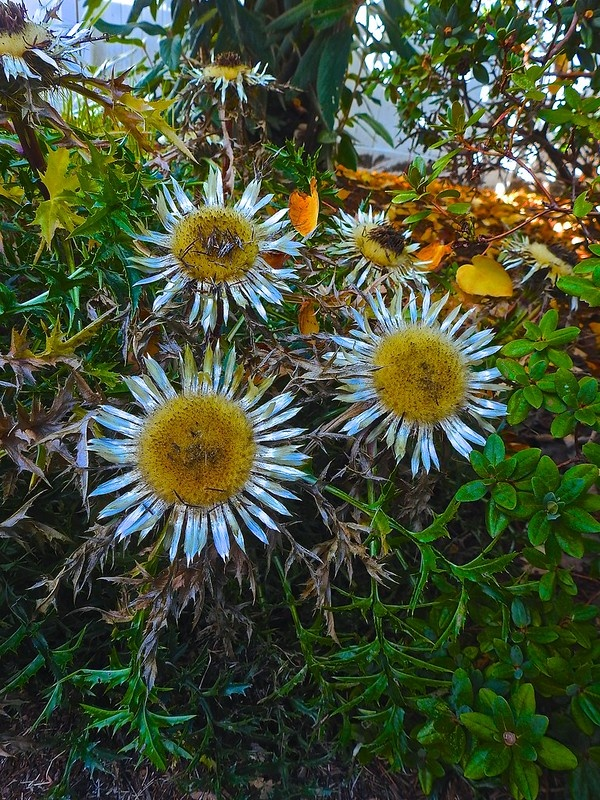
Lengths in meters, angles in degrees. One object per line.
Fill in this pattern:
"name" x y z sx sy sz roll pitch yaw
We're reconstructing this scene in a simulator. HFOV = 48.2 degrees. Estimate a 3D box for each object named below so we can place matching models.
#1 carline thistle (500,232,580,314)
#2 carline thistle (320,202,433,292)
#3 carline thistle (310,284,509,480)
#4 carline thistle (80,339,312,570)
"carline thistle" 0.570 -0.275 1.607 0.200 0.078 0.191 8 22 -47
"carline thistle" 0.173 -0.330 1.474 0.192 0.084 0.198 34 38 30
"carline thistle" 0.210 -0.036 1.253 0.446 0.420 0.148 22 78 -39
"carline thistle" -0.156 0.080 1.052 0.365 0.119 0.356 -34 60 -2
